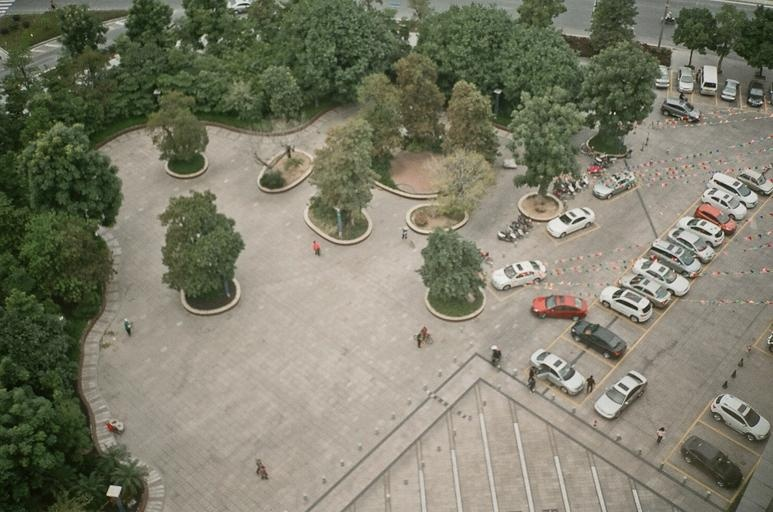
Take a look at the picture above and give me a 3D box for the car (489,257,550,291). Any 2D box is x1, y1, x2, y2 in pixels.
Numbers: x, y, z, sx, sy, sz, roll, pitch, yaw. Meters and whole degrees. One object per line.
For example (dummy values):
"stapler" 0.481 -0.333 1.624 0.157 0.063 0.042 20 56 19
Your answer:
"car" 17.833 2.884 100.263 7.422 2.468 3.581 -12 65 -1

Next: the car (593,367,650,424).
"car" 28.576 17.226 89.471 7.809 2.416 3.572 -41 61 -19

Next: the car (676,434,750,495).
"car" 37.424 24.074 84.633 3.730 2.888 7.337 -42 66 -11

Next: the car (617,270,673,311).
"car" 34.472 4.757 98.593 6.883 2.316 3.362 36 64 21

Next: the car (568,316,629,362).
"car" 26.950 10.579 93.174 6.630 2.213 2.818 33 71 12
